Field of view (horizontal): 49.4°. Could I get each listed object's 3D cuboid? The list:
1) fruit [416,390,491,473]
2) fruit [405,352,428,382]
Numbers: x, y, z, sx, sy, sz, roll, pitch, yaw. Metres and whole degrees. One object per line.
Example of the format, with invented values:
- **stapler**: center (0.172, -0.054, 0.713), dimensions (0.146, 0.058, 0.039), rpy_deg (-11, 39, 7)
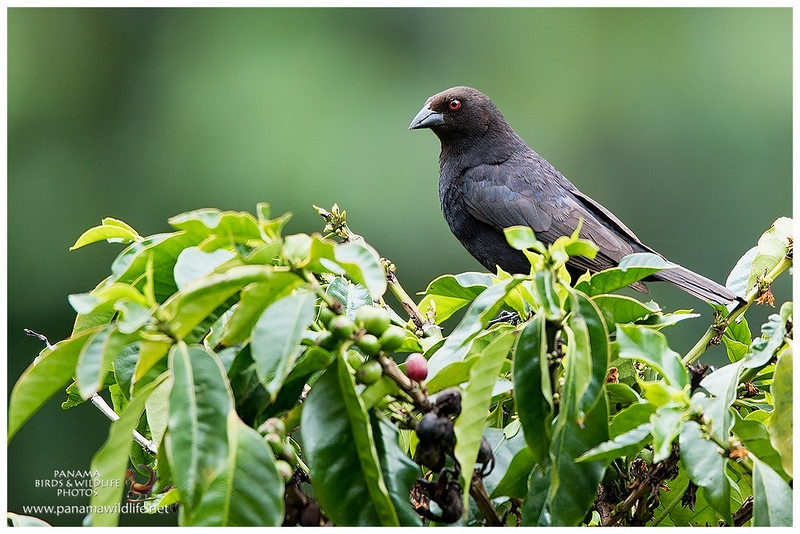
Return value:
- **fruit**: center (0.094, 0.409, 2.181), dimensions (0.116, 0.170, 0.155), rpy_deg (1, -35, -10)
- **fruit**: center (0.042, 0.249, 2.168), dimensions (0.060, 0.078, 0.063), rpy_deg (0, 2, 8)
